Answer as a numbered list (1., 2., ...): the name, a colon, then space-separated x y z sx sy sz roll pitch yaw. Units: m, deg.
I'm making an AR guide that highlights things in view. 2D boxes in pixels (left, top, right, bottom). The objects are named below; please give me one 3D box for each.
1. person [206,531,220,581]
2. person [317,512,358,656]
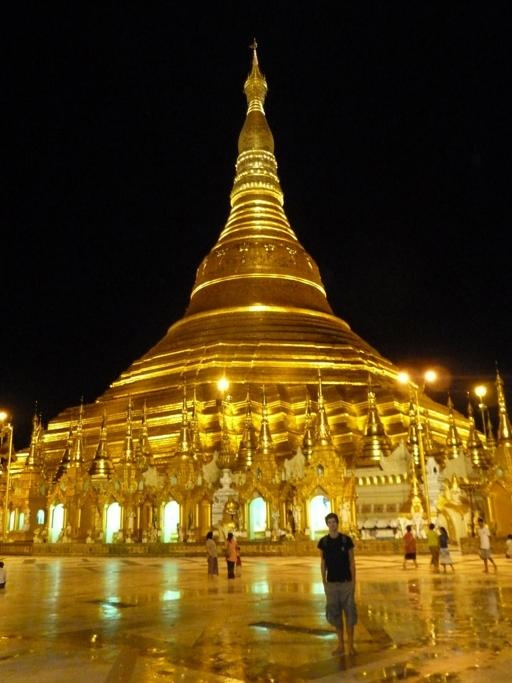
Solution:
1. person: -0.829 4.064 9.873 0.223 0.793 0.435 3 -23 -6
2. person: 0.629 1.799 3.992 0.279 0.959 0.922 -3 -23 8
